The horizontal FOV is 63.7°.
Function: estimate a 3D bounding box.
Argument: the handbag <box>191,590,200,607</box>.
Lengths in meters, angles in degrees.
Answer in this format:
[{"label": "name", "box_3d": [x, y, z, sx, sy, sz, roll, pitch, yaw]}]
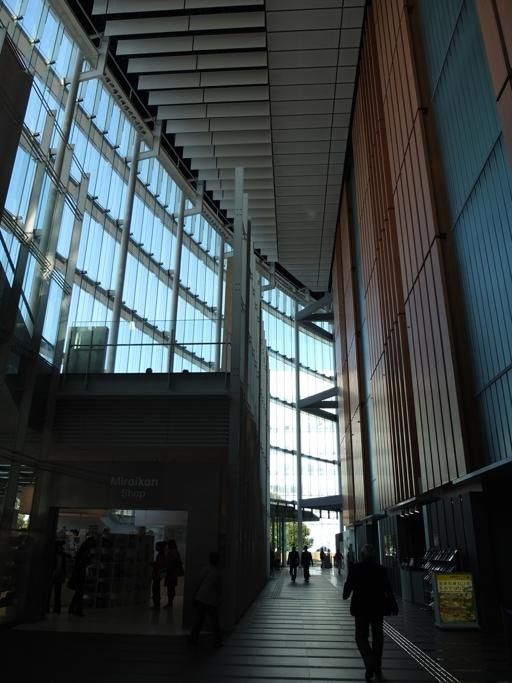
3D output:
[{"label": "handbag", "box_3d": [-0.684, 2.944, 4.685, 0.067, 0.166, 0.262, 5, -21, -11]}]

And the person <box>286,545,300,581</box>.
[{"label": "person", "box_3d": [1.623, 9.739, 17.899, 0.444, 1.332, 1.812, 0, -21, 5]}]

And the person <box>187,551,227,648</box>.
[{"label": "person", "box_3d": [-0.572, 3.000, 4.789, 0.358, 0.935, 0.485, 7, -18, -18]}]

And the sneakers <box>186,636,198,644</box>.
[{"label": "sneakers", "box_3d": [-0.720, 3.408, 4.677, 0.100, 0.073, 0.102, 8, -22, -15]}]
